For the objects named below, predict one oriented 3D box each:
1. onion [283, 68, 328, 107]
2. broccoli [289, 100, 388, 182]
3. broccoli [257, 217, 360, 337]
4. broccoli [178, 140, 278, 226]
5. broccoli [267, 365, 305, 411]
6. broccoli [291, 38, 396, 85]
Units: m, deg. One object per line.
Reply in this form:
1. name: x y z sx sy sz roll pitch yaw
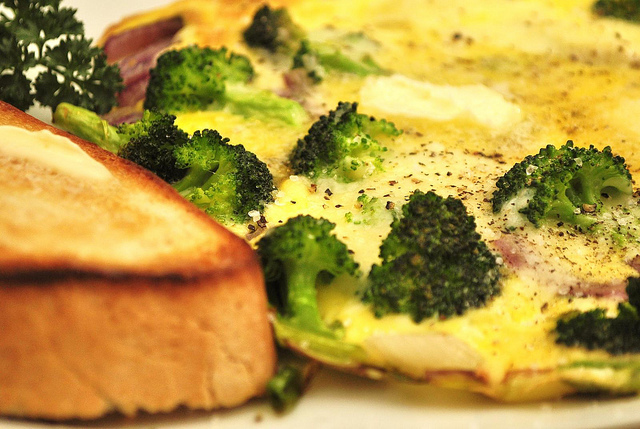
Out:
1. onion: -0.089 -0.693 4.072 0.258 0.073 0.253 9 44 -45
2. broccoli: 0.057 -0.343 3.576 0.400 0.160 0.396 3 56 -7
3. broccoli: -0.064 0.253 3.071 0.395 0.413 0.265 23 39 28
4. broccoli: -0.400 -0.075 3.353 0.362 0.198 0.396 -5 56 -6
5. broccoli: -0.146 0.751 3.126 0.122 0.075 0.198 27 54 4
6. broccoli: 0.131 -0.870 4.050 0.531 0.191 0.241 9 15 12
